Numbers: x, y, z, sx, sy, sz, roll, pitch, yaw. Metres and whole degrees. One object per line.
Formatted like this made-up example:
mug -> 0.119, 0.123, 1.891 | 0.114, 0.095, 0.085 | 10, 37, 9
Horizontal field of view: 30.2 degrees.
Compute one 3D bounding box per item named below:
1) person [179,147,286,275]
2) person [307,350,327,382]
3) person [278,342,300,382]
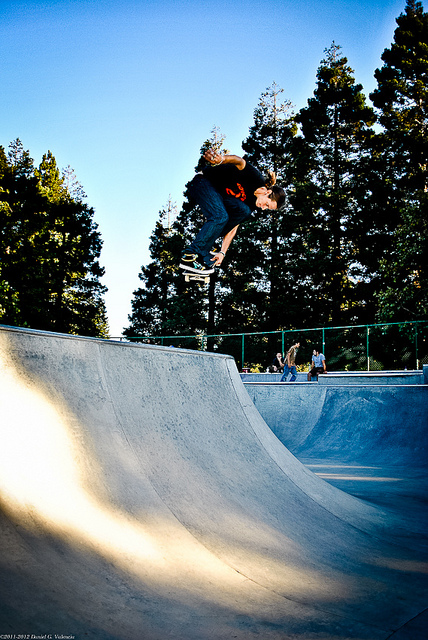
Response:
person -> 0.140, -0.906, 6.666 | 0.784, 0.810, 1.292 | 11, -28, 0
person -> 2.121, 0.926, 16.488 | 0.326, 0.729, 0.714 | 8, -28, 6
person -> 1.462, 0.869, 15.618 | 0.311, 0.927, 0.267 | 12, -6, -38
